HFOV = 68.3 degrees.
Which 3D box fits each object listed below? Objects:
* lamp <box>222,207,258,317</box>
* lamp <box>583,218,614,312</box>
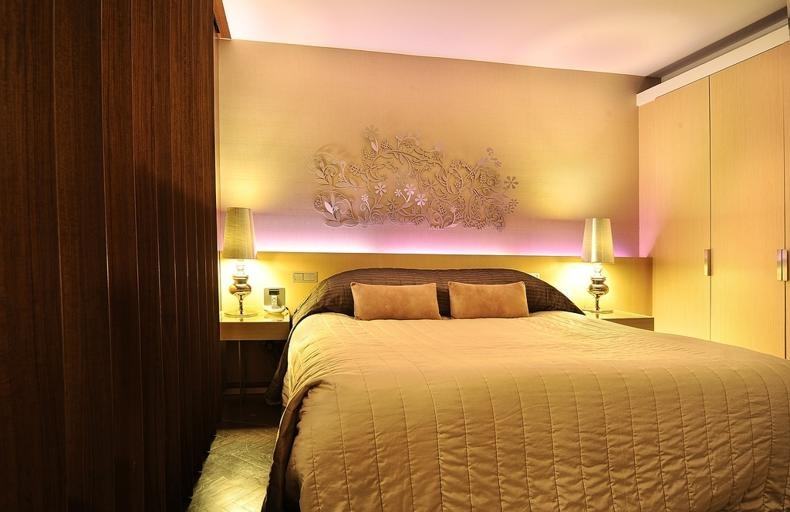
[{"bbox_3d":[-1.197,0.050,4.465,0.246,0.837,0.358,-3,15,-15],"label":"lamp"},{"bbox_3d":[1.740,0.089,5.011,0.259,0.808,0.566,6,15,18],"label":"lamp"}]
